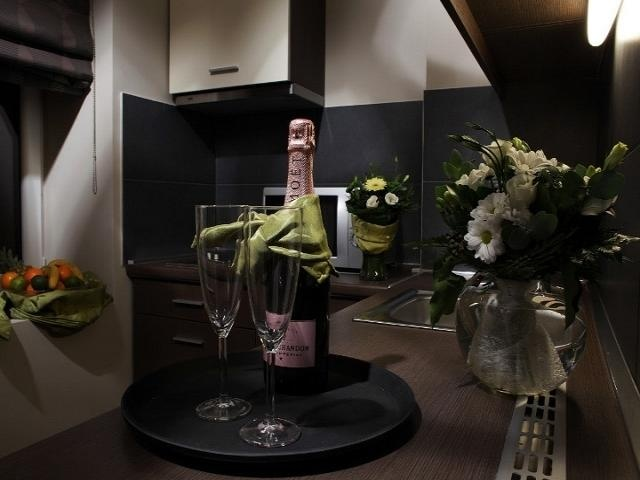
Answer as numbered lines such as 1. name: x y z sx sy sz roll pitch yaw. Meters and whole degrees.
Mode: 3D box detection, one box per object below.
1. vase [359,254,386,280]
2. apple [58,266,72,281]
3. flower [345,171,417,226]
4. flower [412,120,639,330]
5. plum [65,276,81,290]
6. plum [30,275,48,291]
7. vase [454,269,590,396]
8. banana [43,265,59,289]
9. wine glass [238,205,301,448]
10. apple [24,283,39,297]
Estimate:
1. vase: 0.219 0.117 1.879 0.100 0.149 0.100 1 -7 0
2. apple: -1.117 0.150 2.028 0.053 0.055 0.055 7 -8 2
3. flower: 0.231 -0.166 1.929 0.297 0.194 0.274 6 15 36
4. flower: 0.324 -0.027 0.832 0.311 0.358 0.325 -1 3 14
5. plum: -1.083 0.188 2.022 0.040 0.046 0.056 -20 -20 -6
6. plum: -1.160 0.180 1.911 0.056 0.073 0.059 -5 -24 -5
7. vase: 0.334 0.150 0.781 0.187 0.216 0.195 0 -2 -7
8. banana: -1.144 0.159 1.965 0.049 0.096 0.025 -2 -14 3
9. wine glass: -0.065 0.103 0.647 0.081 0.303 0.189 1 8 -2
10. apple: -1.202 0.212 1.949 0.047 0.061 0.049 0 10 8
